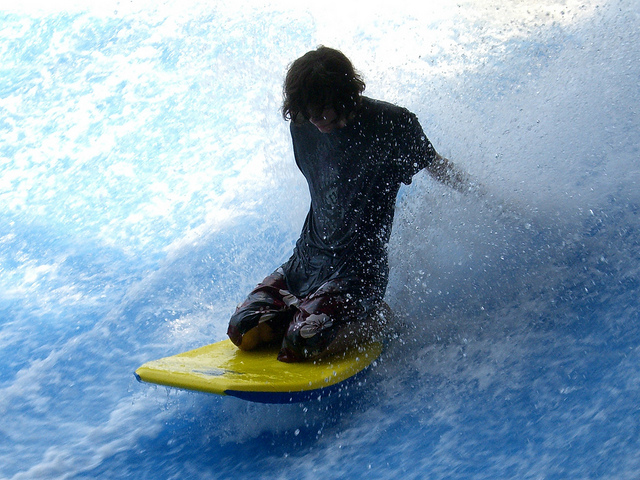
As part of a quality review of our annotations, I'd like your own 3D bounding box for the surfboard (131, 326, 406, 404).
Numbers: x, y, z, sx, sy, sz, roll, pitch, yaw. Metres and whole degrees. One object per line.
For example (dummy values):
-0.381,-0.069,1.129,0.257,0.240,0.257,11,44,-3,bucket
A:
-0.267,0.914,4.590,0.780,1.303,0.227,7,103,38,surfboard
